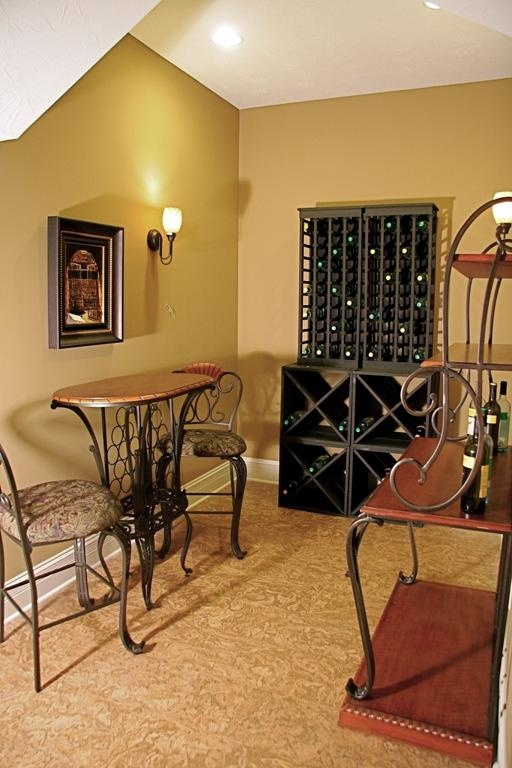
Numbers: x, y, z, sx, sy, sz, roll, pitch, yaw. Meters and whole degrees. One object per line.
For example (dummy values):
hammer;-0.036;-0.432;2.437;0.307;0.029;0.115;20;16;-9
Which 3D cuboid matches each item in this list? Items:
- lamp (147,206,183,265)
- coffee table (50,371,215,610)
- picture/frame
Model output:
lamp;-0.493;-0.842;3.293;0.176;0.305;0.349;0;5;9
coffee table;-0.583;0.493;2.593;0.490;0.933;0.915;2;8;24
picture/frame;-0.789;-0.471;2.586;0.081;0.631;0.549;7;14;23
